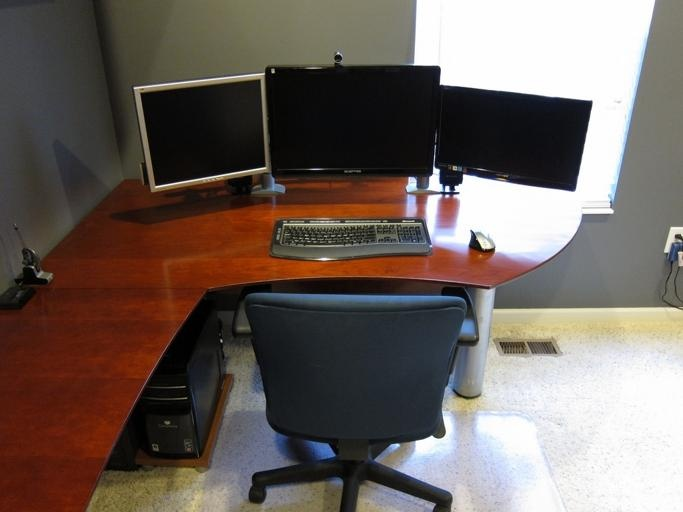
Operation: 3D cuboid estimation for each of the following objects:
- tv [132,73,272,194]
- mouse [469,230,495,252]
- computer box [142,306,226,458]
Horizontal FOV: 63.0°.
[{"bbox_3d":[-0.593,-0.536,2.462,0.535,0.488,0.057,-13,34,-20],"label":"tv"},{"bbox_3d":[0.573,-0.056,2.270,0.064,0.065,0.097,-2,32,-9],"label":"mouse"},{"bbox_3d":[-0.721,0.566,2.570,0.339,0.474,0.606,1,26,0],"label":"computer box"}]
